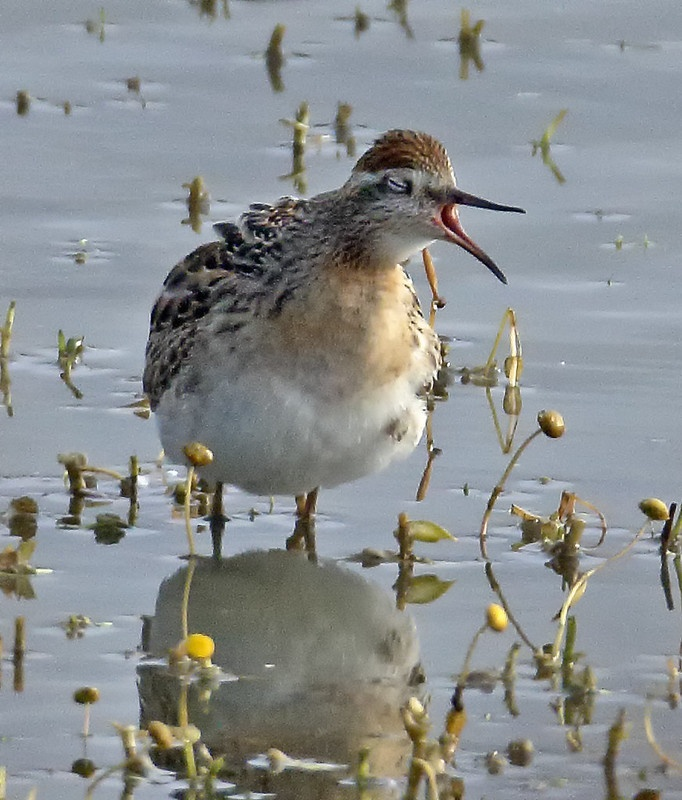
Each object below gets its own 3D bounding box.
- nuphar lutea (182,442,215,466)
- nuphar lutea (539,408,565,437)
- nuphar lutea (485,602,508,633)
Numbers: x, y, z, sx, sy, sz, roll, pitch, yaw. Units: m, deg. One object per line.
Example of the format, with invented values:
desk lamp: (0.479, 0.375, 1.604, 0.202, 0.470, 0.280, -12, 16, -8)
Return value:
nuphar lutea: (-0.469, 0.183, 4.044, 0.081, 0.080, 0.046, -32, -15, -48)
nuphar lutea: (0.771, 0.088, 4.613, 0.057, 0.110, 0.109, -22, 8, 16)
nuphar lutea: (0.403, 0.571, 3.254, 0.049, 0.060, 0.105, -1, 0, 4)
